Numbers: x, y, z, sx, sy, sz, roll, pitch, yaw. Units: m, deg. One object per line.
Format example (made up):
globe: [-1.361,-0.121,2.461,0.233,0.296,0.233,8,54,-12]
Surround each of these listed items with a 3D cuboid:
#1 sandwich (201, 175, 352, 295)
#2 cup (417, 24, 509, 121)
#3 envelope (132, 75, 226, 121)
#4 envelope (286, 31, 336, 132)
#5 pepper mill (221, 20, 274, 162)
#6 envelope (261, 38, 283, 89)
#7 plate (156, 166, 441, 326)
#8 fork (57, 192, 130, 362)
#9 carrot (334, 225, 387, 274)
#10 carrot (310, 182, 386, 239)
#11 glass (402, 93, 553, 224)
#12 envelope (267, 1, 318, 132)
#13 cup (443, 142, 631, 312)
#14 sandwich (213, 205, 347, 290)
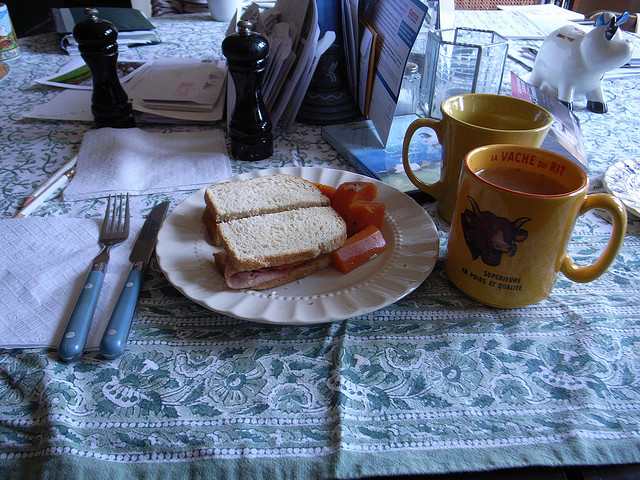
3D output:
sandwich: [-0.074,-0.002,0.803,0.230,0.051,0.224,-6,39,-14]
cup: [0.381,-0.449,1.236,0.237,0.189,0.193,1,38,-1]
envelope: [-0.335,-0.377,1.214,0.259,0.067,0.185,23,35,38]
envelope: [-0.060,-0.366,1.168,0.056,0.329,0.028,32,36,-2]
pepper mill: [-0.169,-0.327,1.040,0.130,0.285,0.121,12,31,19]
envelope: [-0.116,-0.421,1.121,0.038,0.100,0.081,17,15,-17]
plate: [-0.039,-0.067,0.834,0.521,0.233,0.404,-9,29,-22]
fork: [-0.338,0.046,0.724,0.044,0.040,0.268,-3,57,13]
carrot: [0.065,0.015,0.755,0.094,0.032,0.050,-36,75,-22]
carrot: [0.035,-0.071,0.840,0.137,0.052,0.088,4,28,-10]
glass: [0.254,-0.172,0.944,0.363,0.237,0.221,-5,42,1]
envelope: [-0.064,-0.415,1.130,0.040,0.340,0.249,22,39,-16]
cup: [0.311,-0.019,0.717,0.213,0.208,0.179,3,40,4]
sandwich: [-0.083,0.006,0.840,0.244,0.114,0.168,-6,28,-18]
